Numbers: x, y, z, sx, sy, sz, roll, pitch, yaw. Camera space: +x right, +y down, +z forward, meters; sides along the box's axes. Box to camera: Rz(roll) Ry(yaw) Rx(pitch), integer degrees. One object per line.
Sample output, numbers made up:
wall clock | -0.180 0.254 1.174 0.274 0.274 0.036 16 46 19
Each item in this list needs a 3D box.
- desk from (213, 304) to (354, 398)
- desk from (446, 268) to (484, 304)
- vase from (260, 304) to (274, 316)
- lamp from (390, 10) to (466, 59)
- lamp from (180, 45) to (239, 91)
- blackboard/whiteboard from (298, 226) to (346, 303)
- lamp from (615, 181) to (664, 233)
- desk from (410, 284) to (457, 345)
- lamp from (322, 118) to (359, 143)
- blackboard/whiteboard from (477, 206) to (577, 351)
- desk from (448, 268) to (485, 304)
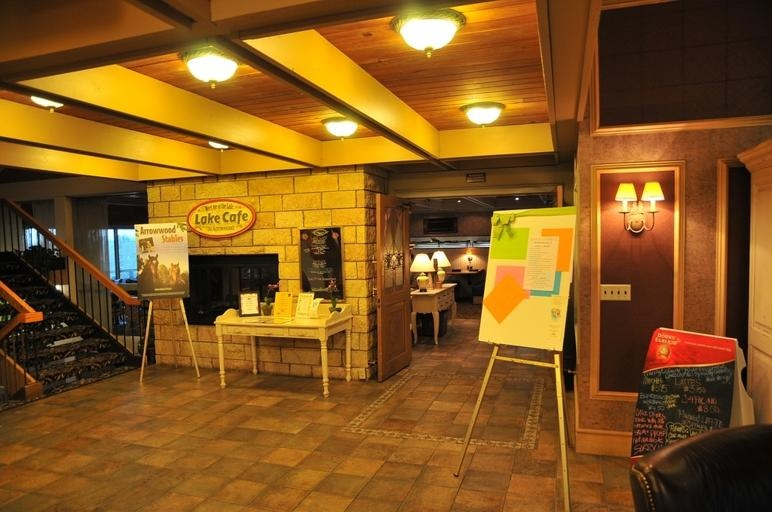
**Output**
desk | -1.449 1.241 7.256 1.811 0.948 0.844 -1 3 23
desk | 2.296 0.834 14.911 1.189 0.854 1.056 0 4 11
vase | -1.771 0.774 7.405 0.190 0.155 0.187 4 -8 -41
lamp | 0.315 -1.698 3.782 0.472 0.186 0.442 -1 0 -29
lamp | -1.498 -1.501 4.052 0.504 0.298 0.331 1 9 14
blackboard/whiteboard | -0.950 0.094 7.388 0.665 1.024 0.146 2 11 17
lamp | 2.487 -0.484 4.941 0.589 0.497 0.325 -2 -8 17
desk | 0.954 1.110 10.318 0.642 0.867 1.778 -3 1 15
lamp | -0.535 -1.449 5.996 0.397 0.140 0.350 0 1 0
blackboard/whiteboard | 1.304 0.184 4.697 0.746 1.241 0.490 3 11 22
desk | 2.539 0.889 15.183 1.411 0.630 1.284 -12 -2 20
